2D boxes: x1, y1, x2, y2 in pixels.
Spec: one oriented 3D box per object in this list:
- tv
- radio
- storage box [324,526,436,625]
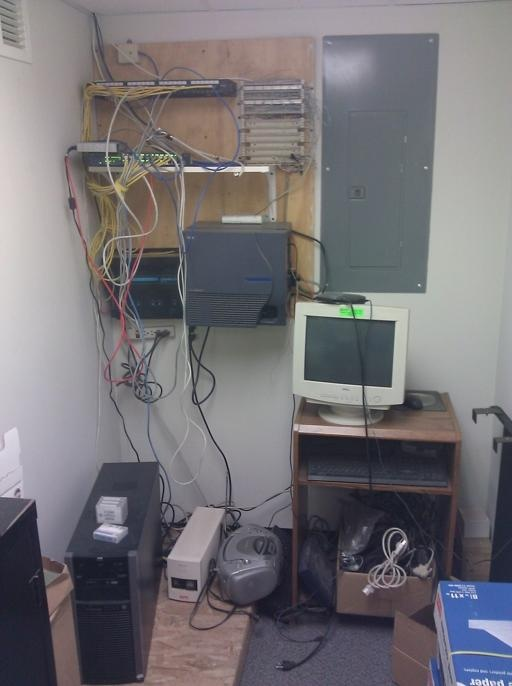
[{"bbox_3d":[0.342,0.048,2.107,0.403,0.445,0.203,10,16,18],"label":"tv"},{"bbox_3d":[-0.026,0.860,2.330,0.256,0.161,0.326,-4,19,-6],"label":"radio"},{"bbox_3d":[0.471,0.790,2.244,0.342,0.330,0.313,2,12,5],"label":"storage box"}]
